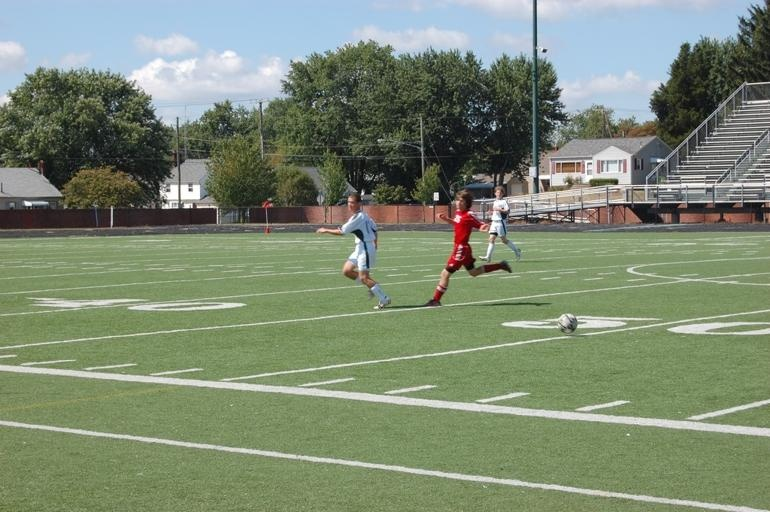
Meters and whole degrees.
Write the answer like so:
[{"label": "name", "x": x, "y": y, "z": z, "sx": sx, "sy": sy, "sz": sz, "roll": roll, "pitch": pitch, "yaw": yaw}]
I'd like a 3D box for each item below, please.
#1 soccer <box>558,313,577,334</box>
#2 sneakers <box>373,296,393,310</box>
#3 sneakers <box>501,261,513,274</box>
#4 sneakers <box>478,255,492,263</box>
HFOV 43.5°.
[{"label": "soccer", "x": 2.647, "y": 1.000, "z": 14.046, "sx": 0.252, "sy": 0.267, "sz": 0.241, "roll": 0, "pitch": 2, "yaw": 4}, {"label": "sneakers", "x": -0.019, "y": 0.833, "z": 16.909, "sx": 0.162, "sy": 0.130, "sz": 0.345, "roll": 0, "pitch": 13, "yaw": 43}, {"label": "sneakers", "x": 2.459, "y": 0.257, "z": 19.720, "sx": 0.182, "sy": 0.132, "sz": 0.377, "roll": -8, "pitch": -33, "yaw": 28}, {"label": "sneakers", "x": 2.699, "y": 0.114, "z": 25.734, "sx": 0.379, "sy": 0.118, "sz": 0.175, "roll": 24, "pitch": -44, "yaw": -35}]
